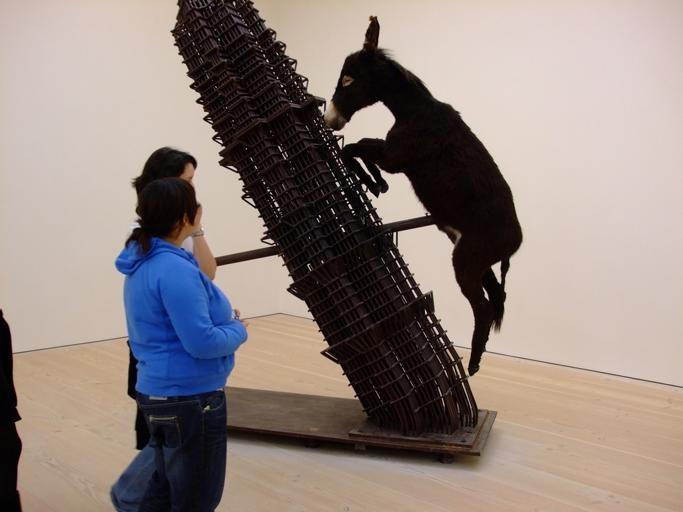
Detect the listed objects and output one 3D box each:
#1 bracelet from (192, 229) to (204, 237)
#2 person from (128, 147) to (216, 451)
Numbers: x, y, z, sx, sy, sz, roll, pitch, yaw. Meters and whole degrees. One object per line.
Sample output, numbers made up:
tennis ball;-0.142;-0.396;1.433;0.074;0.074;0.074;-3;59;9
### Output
bracelet;-0.755;-0.119;3.197;0.054;0.032;0.049;-12;6;11
person;-0.985;0.231;3.423;0.503;1.670;0.518;-12;24;-43
